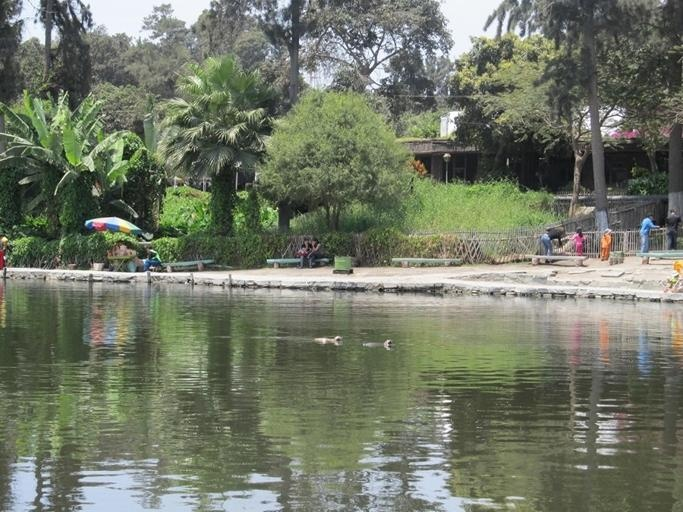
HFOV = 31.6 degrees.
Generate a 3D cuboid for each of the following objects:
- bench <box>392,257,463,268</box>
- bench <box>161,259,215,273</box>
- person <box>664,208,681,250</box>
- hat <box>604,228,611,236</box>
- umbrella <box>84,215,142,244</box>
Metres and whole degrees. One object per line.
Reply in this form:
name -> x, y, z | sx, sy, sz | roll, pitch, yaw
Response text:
bench -> 3.906, 0.329, 53.819 | 3.167, 0.527, 1.244 | 2, 9, 4
bench -> -7.125, 0.497, 56.718 | 1.969, 0.638, 2.449 | 3, 10, 14
person -> 14.954, -1.094, 54.304 | 0.528, 1.718, 1.071 | 3, 9, 15
hat -> 11.996, -1.098, 53.984 | 0.342, 0.237, 0.495 | -1, -9, 3
umbrella -> -10.611, -1.317, 56.466 | 2.429, 1.100, 3.206 | -1, 10, -12
